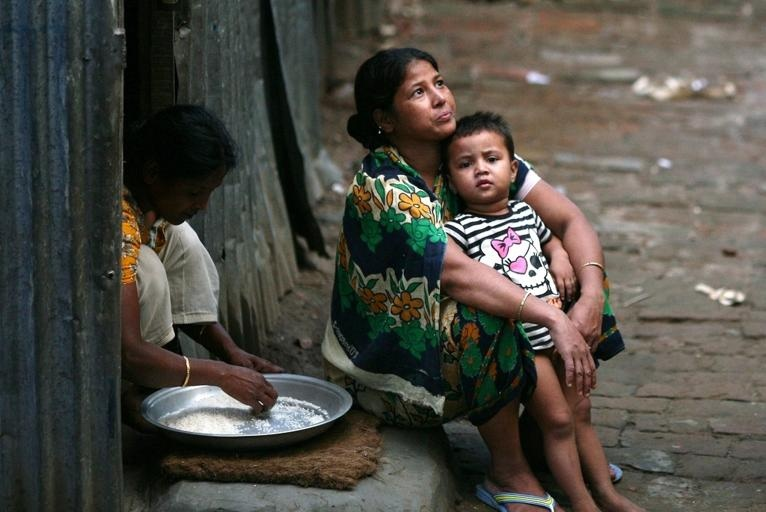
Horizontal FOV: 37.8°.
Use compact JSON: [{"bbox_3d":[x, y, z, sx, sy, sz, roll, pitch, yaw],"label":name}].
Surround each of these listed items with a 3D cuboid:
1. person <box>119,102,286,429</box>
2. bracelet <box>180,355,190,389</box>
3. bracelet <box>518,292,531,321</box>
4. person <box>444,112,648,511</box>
[{"bbox_3d":[-0.829,0.036,5.119,0.770,1.437,0.717,-1,8,-18],"label":"person"},{"bbox_3d":[-0.862,0.507,4.930,0.039,0.132,0.063,-1,8,-16],"label":"bracelet"},{"bbox_3d":[0.610,0.211,4.950,0.026,0.090,0.086,17,-4,-2],"label":"bracelet"},{"bbox_3d":[0.694,0.231,5.177,0.527,1.786,0.933,-6,10,-42],"label":"person"}]
